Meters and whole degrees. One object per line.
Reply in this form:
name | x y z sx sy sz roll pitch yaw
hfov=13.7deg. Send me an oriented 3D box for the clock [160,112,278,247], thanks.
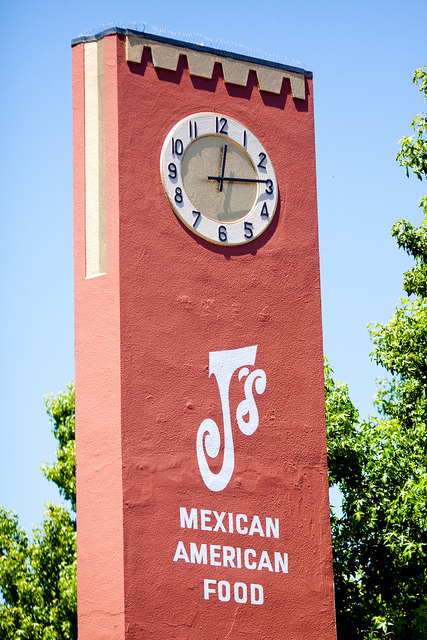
clock | 0.008 -1.492 19.662 1.245 1.384 0.122 11 -24 -41
